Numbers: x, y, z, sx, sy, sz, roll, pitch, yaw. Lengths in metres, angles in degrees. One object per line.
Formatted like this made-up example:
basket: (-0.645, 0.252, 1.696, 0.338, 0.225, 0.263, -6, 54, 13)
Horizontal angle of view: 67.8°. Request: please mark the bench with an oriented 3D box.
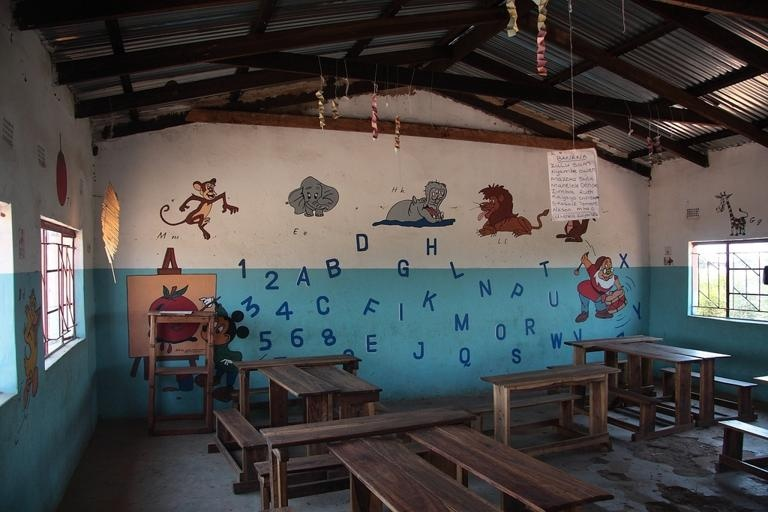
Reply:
bench: (-1.737, 2.341, 6.901, 0.583, 0.637, 1.912, -2, 4, -25)
